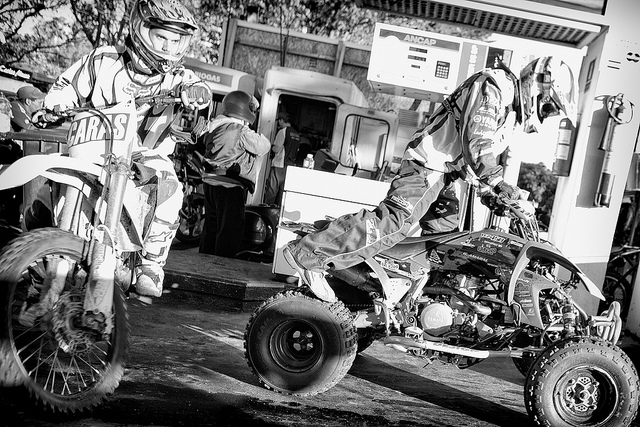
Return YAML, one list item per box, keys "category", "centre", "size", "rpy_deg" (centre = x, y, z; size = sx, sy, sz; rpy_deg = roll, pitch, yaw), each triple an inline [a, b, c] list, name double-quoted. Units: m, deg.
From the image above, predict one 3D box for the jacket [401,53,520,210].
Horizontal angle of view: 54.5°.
- category: "jacket"
  centre: [1.369, -0.841, 5.852]
  size: [0.950, 1.373, 0.647]
  rpy_deg: [12, 11, 17]

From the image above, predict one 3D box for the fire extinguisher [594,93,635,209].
- category: "fire extinguisher"
  centre: [3.685, -0.798, 7.773]
  size: [0.358, 1.441, 0.276]
  rpy_deg: [6, 11, -8]

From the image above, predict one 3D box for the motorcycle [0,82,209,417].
- category: "motorcycle"
  centre: [-1.785, 0.169, 4.789]
  size: [1.259, 2.511, 1.162]
  rpy_deg: [5, 11, -14]

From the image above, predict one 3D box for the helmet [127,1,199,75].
- category: "helmet"
  centre: [-1.290, -1.461, 5.065]
  size: [0.524, 0.598, 0.257]
  rpy_deg: [6, 11, -12]

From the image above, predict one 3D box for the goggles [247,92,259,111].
- category: "goggles"
  centre: [-0.947, -1.616, 8.786]
  size: [0.144, 0.210, 0.200]
  rpy_deg: [-4, -16, 14]

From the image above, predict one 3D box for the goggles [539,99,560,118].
- category: "goggles"
  centre: [2.131, -0.984, 5.823]
  size: [0.180, 0.140, 0.195]
  rpy_deg: [-4, 6, 35]
